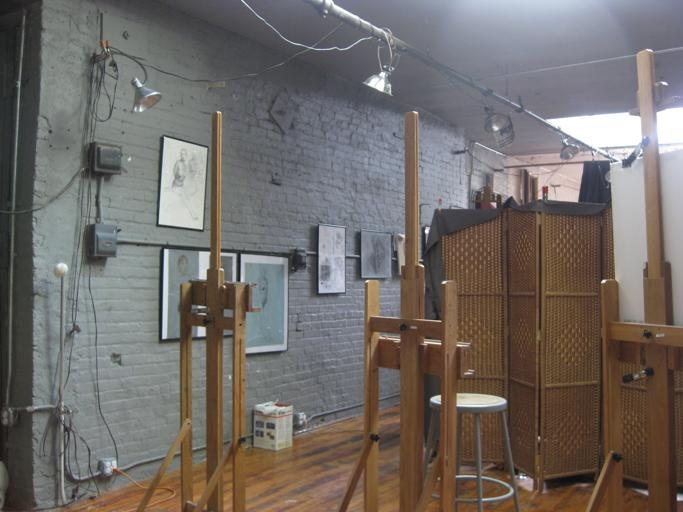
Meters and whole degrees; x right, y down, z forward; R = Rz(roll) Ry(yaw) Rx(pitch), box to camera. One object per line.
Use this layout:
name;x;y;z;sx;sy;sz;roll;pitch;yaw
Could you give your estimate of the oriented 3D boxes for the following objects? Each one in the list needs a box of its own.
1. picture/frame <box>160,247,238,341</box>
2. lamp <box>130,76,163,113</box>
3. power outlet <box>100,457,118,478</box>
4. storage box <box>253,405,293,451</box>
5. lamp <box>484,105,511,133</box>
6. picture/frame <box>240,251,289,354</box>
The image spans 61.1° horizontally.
picture/frame;-1.153;0.309;4.525;0.037;0.939;0.769;-4;-7;44
lamp;-1.565;-1.294;4.620;0.245;0.277;0.161;0;-3;2
power outlet;-1.916;1.740;4.761;0.083;0.161;0.162;-3;-7;17
storage box;-0.682;1.714;5.945;0.366;0.538;0.394;-2;-4;33
lamp;1.795;-1.570;6.662;0.279;0.308;0.250;-1;-4;20
picture/frame;-0.789;0.501;6.019;0.155;1.025;0.697;-1;-4;26
